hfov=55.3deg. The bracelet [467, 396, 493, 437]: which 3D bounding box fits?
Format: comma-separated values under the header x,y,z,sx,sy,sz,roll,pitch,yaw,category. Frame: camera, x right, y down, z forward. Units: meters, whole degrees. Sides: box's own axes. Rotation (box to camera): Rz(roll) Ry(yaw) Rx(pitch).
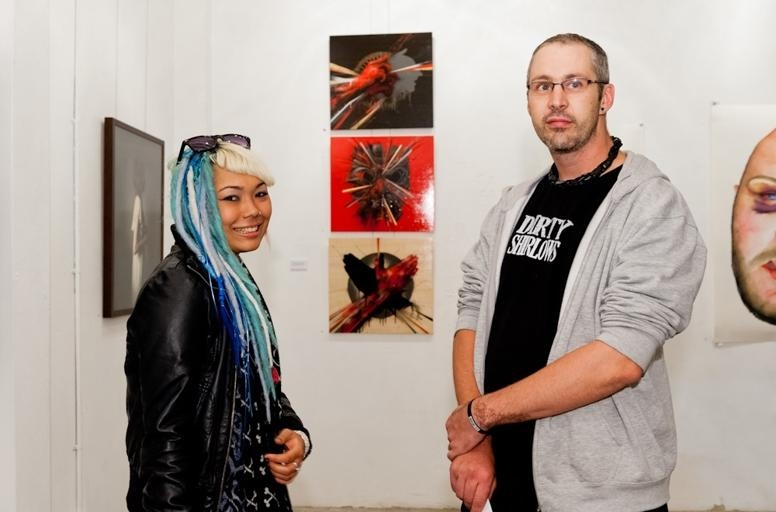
x,y,z,sx,sy,sz,roll,pitch,yaw,category
0.426,0.769,3.553,0.035,0.152,0.154,-9,9,11,bracelet
